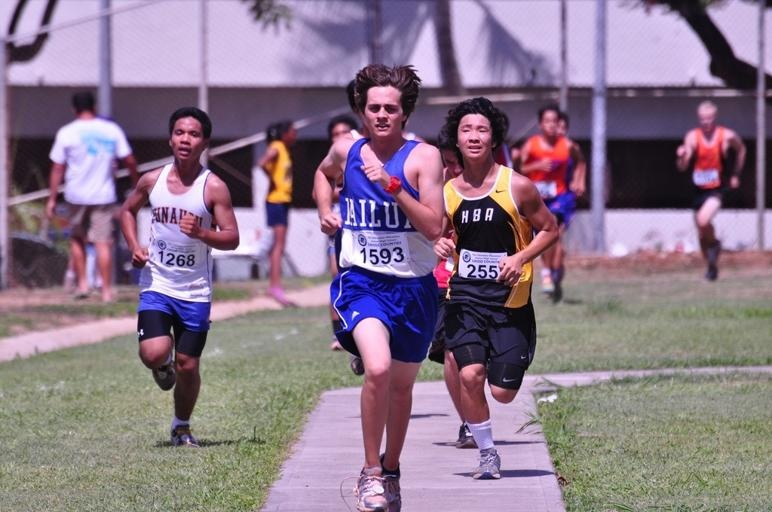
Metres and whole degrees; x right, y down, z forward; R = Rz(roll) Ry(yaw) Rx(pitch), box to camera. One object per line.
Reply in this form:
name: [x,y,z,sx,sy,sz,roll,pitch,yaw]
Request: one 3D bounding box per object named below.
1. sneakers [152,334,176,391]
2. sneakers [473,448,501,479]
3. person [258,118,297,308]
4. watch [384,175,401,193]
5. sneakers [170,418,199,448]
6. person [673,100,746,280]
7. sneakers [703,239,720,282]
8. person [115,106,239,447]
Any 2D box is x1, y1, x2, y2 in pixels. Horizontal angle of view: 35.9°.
sneakers: [-1.675,0.871,9.120,0.138,0.394,0.157,-8,20,-10]
sneakers: [0.722,1.474,8.493,0.185,0.195,0.193,0,7,5]
person: [-1.418,-0.534,15.781,0.455,2.463,0.888,-1,7,-5]
watch: [0.052,-0.462,7.807,0.072,0.115,0.113,4,3,6]
sneakers: [-1.540,1.360,9.105,0.113,0.147,0.333,2,-4,-28]
person: [2.520,-0.502,9.318,0.483,1.371,0.201,1,7,15]
sneakers: [2.545,0.035,9.300,0.106,0.311,0.053,1,7,12]
person: [-1.551,0.154,9.040,0.890,2.531,0.679,-1,7,0]
